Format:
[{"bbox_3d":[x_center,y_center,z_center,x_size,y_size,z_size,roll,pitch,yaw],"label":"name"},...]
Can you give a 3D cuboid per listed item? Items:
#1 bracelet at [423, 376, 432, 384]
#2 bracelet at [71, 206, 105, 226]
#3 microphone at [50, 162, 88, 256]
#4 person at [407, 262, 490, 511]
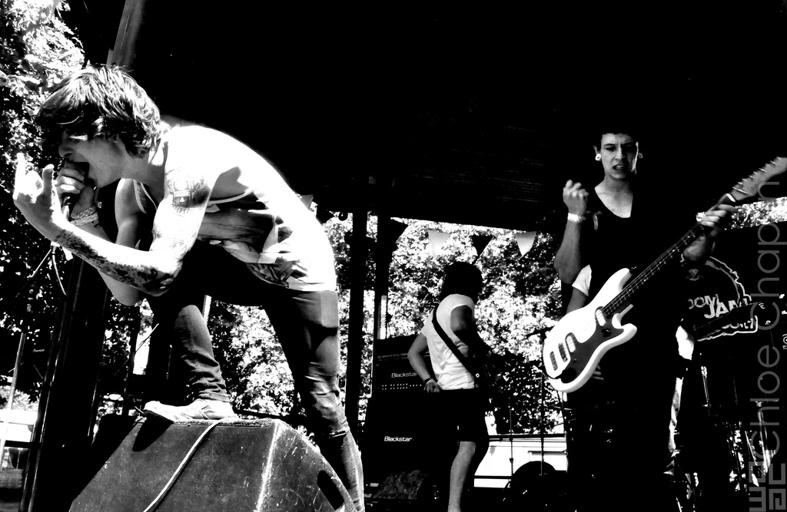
[{"bbox_3d":[0.313,1.137,6.804,0.056,0.045,0.060,-5,-38,27],"label":"bracelet"},{"bbox_3d":[-1.642,-0.213,4.007,0.097,0.075,0.099,-11,-5,43],"label":"bracelet"},{"bbox_3d":[-1.683,-0.244,3.908,0.105,0.447,0.138,15,26,6],"label":"microphone"},{"bbox_3d":[0.542,1.136,6.652,0.527,2.131,0.786,10,-13,-21],"label":"person"}]
